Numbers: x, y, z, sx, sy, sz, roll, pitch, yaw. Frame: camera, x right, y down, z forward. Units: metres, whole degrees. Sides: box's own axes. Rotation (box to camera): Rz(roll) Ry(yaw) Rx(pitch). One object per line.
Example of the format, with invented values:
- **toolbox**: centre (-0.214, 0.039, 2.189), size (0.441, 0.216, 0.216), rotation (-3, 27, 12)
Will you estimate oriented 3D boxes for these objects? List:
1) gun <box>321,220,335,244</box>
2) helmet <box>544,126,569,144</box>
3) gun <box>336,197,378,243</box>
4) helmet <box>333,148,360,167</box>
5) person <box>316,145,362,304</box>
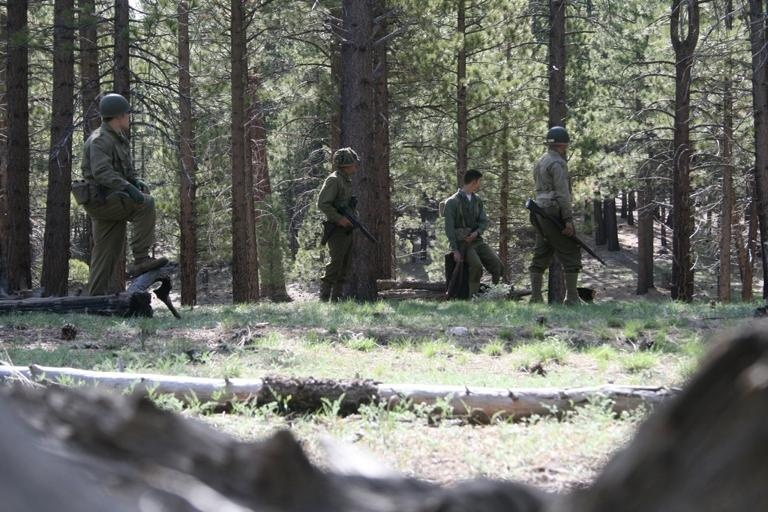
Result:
- **gun**: centre (-1.643, -0.665, 36.007), size (0.365, 0.683, 0.362), rotation (1, 0, -10)
- **helmet**: centre (5.003, -3.453, 35.552), size (0.598, 0.489, 0.506), rotation (1, 0, 3)
- **gun**: centre (-0.889, -1.030, 36.611), size (0.263, 0.742, 1.878), rotation (20, -19, 48)
- **helmet**: centre (-1.128, -2.861, 35.896), size (0.646, 0.471, 0.448), rotation (-12, 16, -28)
- **person**: centre (-1.374, -0.896, 36.090), size (1.110, 4.461, 0.871), rotation (1, 0, -4)
